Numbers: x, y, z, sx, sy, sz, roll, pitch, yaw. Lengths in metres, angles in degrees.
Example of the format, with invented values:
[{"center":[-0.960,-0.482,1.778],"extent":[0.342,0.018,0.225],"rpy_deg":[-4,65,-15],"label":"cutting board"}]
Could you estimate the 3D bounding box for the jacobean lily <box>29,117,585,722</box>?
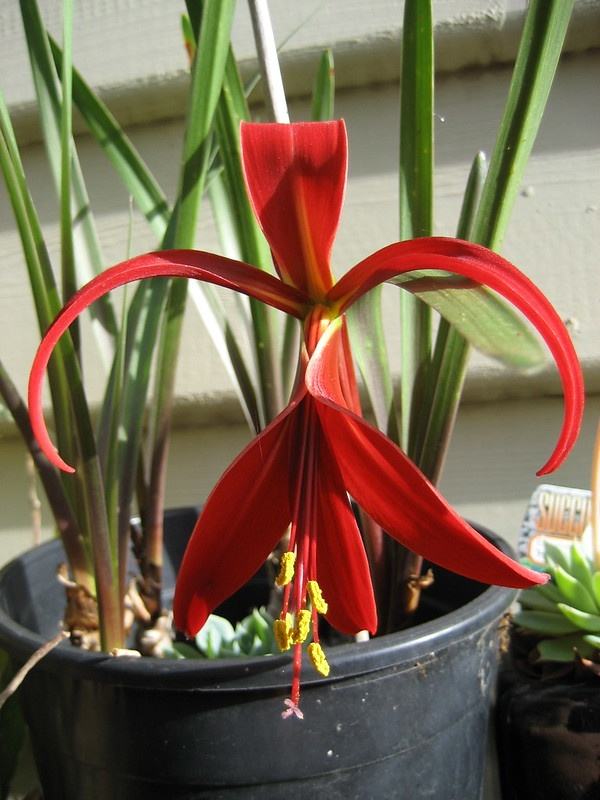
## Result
[{"center":[0.005,0.013,0.511],"extent":[0.241,0.314,0.182],"rpy_deg":[0,-8,-2],"label":"jacobean lily"}]
